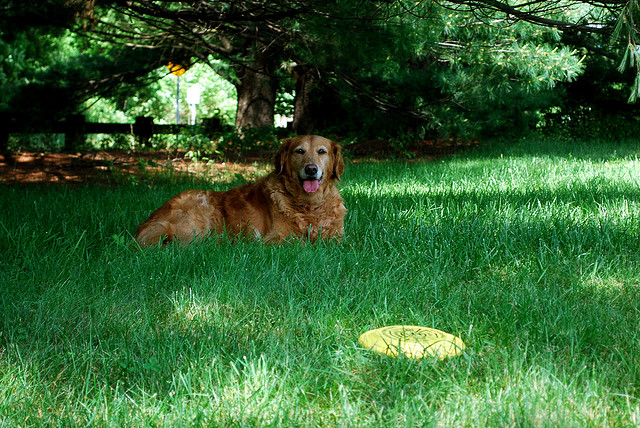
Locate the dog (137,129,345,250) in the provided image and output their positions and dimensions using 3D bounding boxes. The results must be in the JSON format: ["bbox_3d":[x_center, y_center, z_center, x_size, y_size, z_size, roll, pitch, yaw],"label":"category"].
[{"bbox_3d":[-0.688,-0.081,6.979,1.579,0.907,1.331,4,-1,-42],"label":"dog"}]
